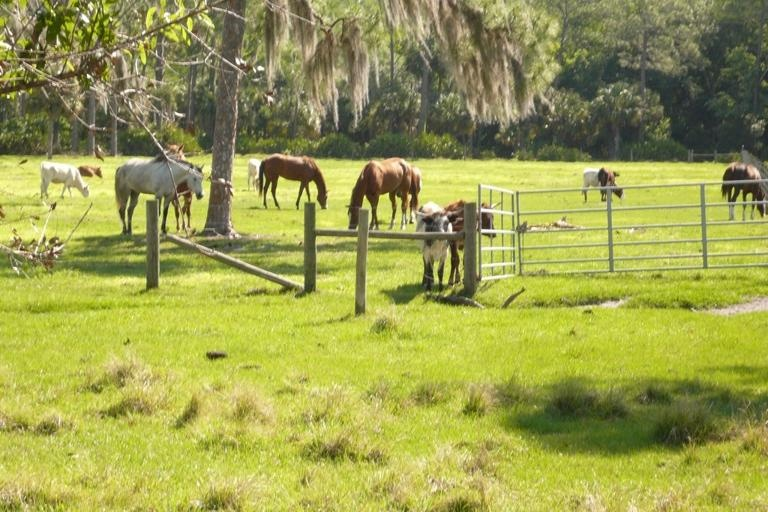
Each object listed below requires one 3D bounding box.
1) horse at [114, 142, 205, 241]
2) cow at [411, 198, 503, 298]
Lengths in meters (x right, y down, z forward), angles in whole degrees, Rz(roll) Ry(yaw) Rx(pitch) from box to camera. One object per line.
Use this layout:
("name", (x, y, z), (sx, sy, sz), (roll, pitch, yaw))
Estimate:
("horse", (-10.595, -3.235, 63.306), (1.542, 4.074, 4.913), (-1, 4, -31))
("cow", (3.712, -0.353, 56.846), (2.520, 4.072, 5.874), (1, 0, 1))
